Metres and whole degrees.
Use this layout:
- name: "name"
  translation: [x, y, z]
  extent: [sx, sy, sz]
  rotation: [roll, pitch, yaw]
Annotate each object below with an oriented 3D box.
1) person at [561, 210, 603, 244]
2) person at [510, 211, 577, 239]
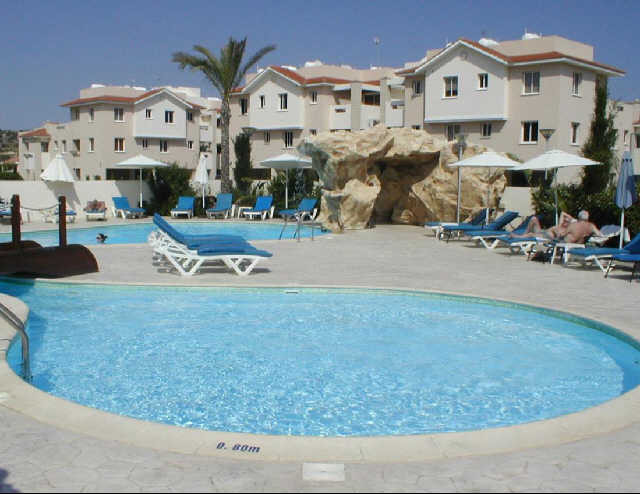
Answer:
- name: "person"
  translation: [6.215, -0.448, 15.721]
  extent: [0.927, 0.840, 0.773]
  rotation: [0, 15, -4]
- name: "person"
  translation: [5.953, -0.436, 17.415]
  extent: [1.303, 0.498, 0.969]
  rotation: [-6, 7, -15]
